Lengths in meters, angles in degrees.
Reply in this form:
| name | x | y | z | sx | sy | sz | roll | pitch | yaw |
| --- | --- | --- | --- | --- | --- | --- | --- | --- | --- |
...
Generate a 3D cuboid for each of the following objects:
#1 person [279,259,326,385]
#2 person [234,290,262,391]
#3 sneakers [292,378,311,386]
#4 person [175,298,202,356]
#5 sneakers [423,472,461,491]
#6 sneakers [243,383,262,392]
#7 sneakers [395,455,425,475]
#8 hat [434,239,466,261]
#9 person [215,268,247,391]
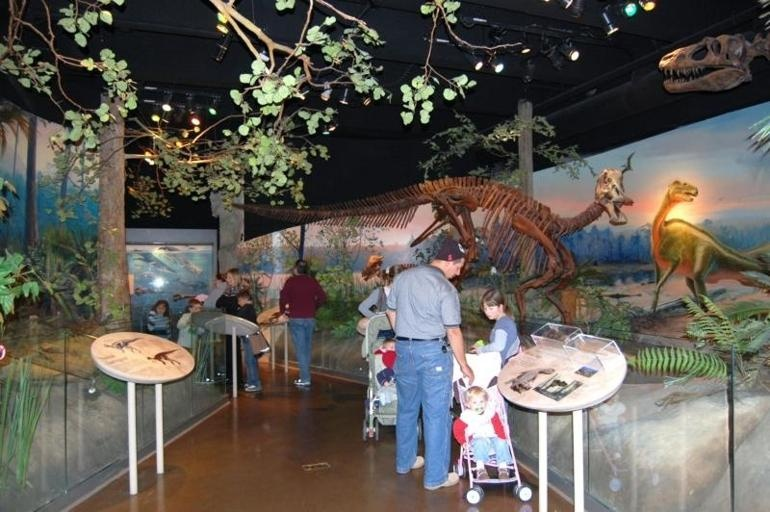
| name | x | y | z | sx | sy | sz | roll | pitch | yaw |
| --- | --- | --- | --- | --- | --- | --- | --- | --- | --- |
| person | -1.342 | 1.077 | 8.719 | 0.699 | 2.017 | 0.330 | 0 | 3 | -12 |
| person | -2.176 | 1.339 | 8.696 | 0.362 | 1.609 | 0.984 | 0 | 3 | -14 |
| sneakers | -1.374 | 2.038 | 8.875 | 0.283 | 0.121 | 0.106 | 5 | 1 | 30 |
| person | -2.403 | 0.870 | 6.706 | 0.299 | 0.760 | 0.276 | -1 | 14 | -24 |
| sneakers | 0.544 | 2.151 | 5.274 | 0.346 | 0.145 | 0.126 | -11 | 13 | -33 |
| sneakers | -2.105 | 2.078 | 8.591 | 0.254 | 0.105 | 0.107 | 2 | -14 | 0 |
| sneakers | 0.257 | 2.133 | 5.610 | 0.320 | 0.134 | 0.124 | -16 | 19 | -41 |
| hat | 0.674 | -0.046 | 5.483 | 0.385 | 0.254 | 0.260 | 0 | 1 | -26 |
| person | -2.590 | 1.196 | 9.024 | 0.548 | 1.966 | 0.500 | 2 | 3 | 3 |
